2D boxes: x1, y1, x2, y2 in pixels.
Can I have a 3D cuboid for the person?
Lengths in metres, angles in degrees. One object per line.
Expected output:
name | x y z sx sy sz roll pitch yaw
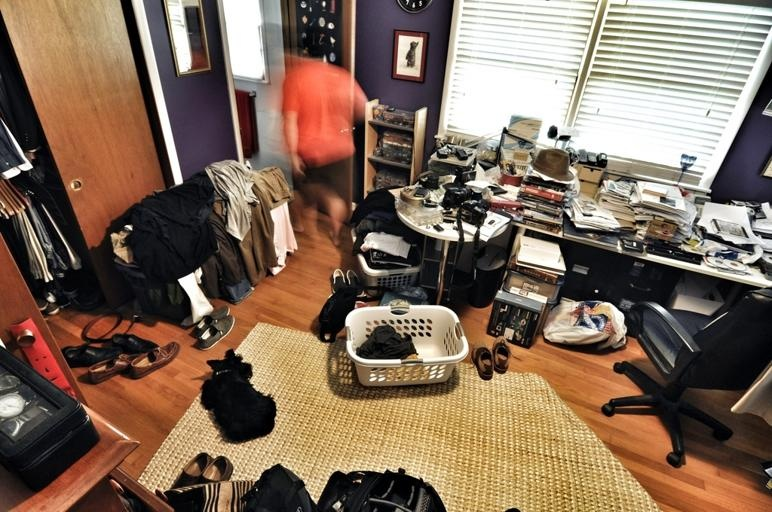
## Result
person | -0.612 -1.121 4.991 0.691 1.870 0.702 3 32 -1

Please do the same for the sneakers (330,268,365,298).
sneakers | -0.362 0.203 4.496 0.202 0.085 0.277 0 34 -6

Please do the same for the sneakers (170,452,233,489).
sneakers | -1.238 1.398 3.350 0.208 0.082 0.278 13 41 26

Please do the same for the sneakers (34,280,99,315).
sneakers | -2.668 0.352 4.287 0.429 0.152 0.254 3 70 -7

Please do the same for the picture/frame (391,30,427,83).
picture/frame | 0.223 -1.885 4.763 0.423 0.507 0.036 12 33 20

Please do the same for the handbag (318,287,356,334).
handbag | -0.401 0.472 4.134 0.111 0.282 0.386 27 82 33

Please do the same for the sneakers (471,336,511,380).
sneakers | 0.841 0.813 4.115 0.244 0.106 0.316 0 38 4

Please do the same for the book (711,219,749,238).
book | 2.680 -0.212 3.984 0.189 0.019 0.124 4 44 4

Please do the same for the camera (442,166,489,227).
camera | 0.684 -0.476 4.058 0.216 0.282 0.360 0 33 -47

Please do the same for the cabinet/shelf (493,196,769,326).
cabinet/shelf | 2.029 0.146 4.326 1.522 0.736 0.759 14 51 13

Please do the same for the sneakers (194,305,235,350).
sneakers | -1.408 0.586 4.218 0.210 0.131 0.364 23 47 23

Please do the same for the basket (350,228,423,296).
basket | 0.006 0.043 4.425 0.582 0.428 0.381 4 31 1

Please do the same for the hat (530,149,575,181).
hat | 1.222 -0.688 3.775 0.240 0.106 0.279 -35 47 -28

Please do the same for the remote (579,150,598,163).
remote | 1.703 -0.840 4.303 0.138 0.033 0.124 7 48 12
